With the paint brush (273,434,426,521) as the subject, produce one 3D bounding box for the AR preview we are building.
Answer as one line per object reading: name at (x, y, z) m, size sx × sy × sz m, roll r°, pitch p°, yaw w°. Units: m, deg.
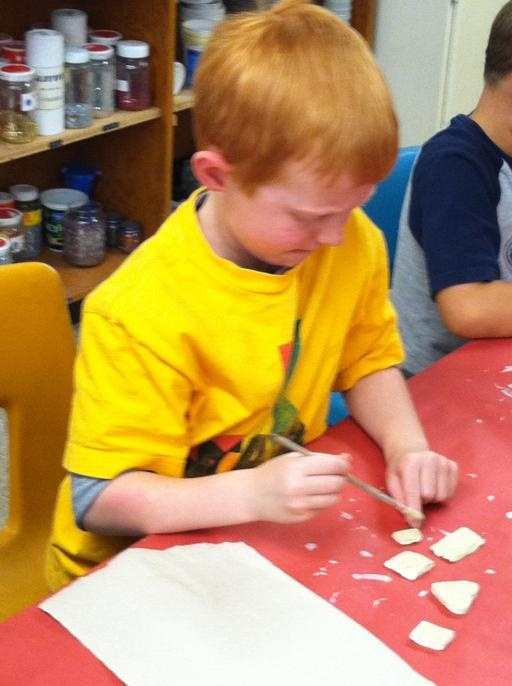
paint brush at (0.095, 0.133, 0.621) m, size 0.152 × 0.024 × 0.019 m, roll 26°, pitch 50°, yaw -5°
